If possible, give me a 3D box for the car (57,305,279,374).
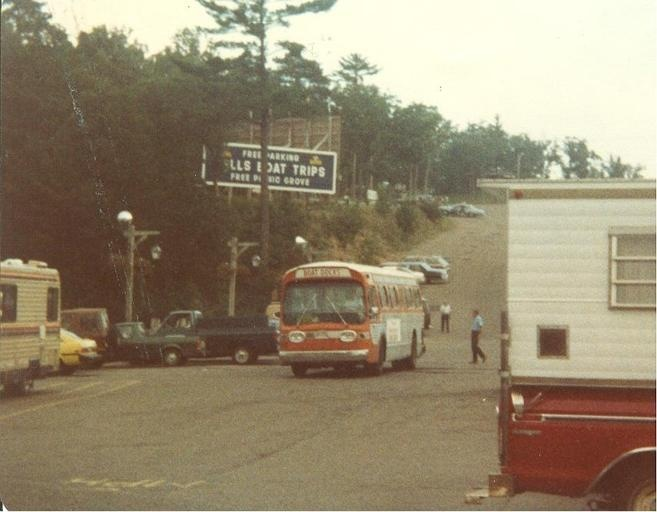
[{"bbox_3d":[-5.184,2.771,32.318,6.999,1.896,0.665,-1,1,10],"label":"car"}]

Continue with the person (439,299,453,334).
[{"bbox_3d":[5.536,2.948,44.892,0.479,1.583,2.324,-1,1,9],"label":"person"}]
